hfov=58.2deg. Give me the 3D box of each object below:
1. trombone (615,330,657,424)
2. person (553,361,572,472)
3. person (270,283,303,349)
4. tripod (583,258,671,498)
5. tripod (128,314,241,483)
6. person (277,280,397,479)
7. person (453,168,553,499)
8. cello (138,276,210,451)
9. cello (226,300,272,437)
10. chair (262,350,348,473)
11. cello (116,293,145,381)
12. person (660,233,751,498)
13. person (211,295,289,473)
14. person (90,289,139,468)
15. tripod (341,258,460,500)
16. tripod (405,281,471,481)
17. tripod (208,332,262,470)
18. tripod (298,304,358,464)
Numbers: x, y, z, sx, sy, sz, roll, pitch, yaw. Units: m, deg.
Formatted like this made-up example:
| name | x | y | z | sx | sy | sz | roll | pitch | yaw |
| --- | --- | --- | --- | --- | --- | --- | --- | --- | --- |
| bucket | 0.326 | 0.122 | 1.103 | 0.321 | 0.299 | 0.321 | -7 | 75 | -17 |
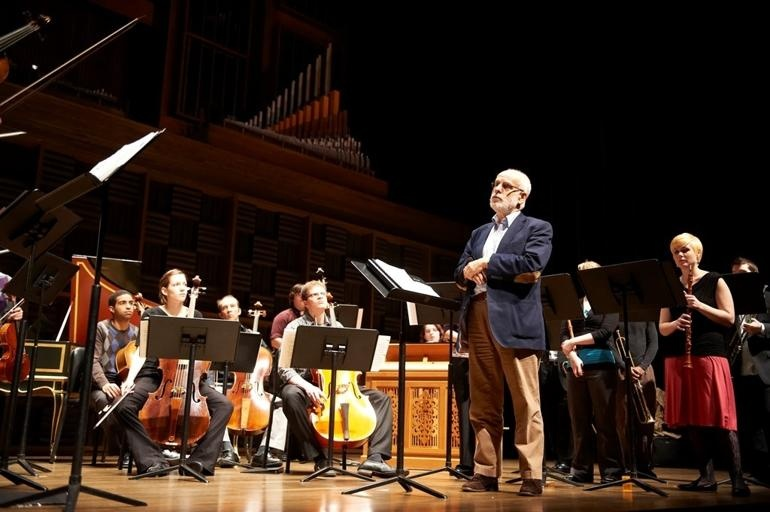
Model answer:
| name | x | y | z | sx | sy | sz | roll | pitch | yaw |
| --- | --- | --- | --- | --- | --- | --- | --- | --- | --- |
| trombone | 2.424 | 1.166 | 6.751 | 0.292 | 0.977 | 0.381 | 12 | -18 | -37 |
| person | 2.149 | 2.023 | 8.342 | 0.290 | 1.552 | 0.404 | 0 | 0 | 23 |
| person | -1.145 | 0.721 | 8.139 | 0.387 | 0.908 | 0.420 | 2 | -2 | -5 |
| tripod | 2.128 | 1.100 | 6.258 | 0.647 | 2.138 | 0.758 | 0 | -1 | 30 |
| tripod | -1.760 | 1.108 | 6.124 | 0.605 | 1.792 | 0.676 | -7 | -12 | 42 |
| person | -0.606 | 1.346 | 6.522 | 0.842 | 2.126 | 0.342 | 1 | -24 | -33 |
| person | 0.982 | 0.643 | 5.884 | 0.798 | 2.775 | 1.181 | 6 | -10 | -27 |
| cello | -1.969 | 0.987 | 6.579 | 0.592 | 1.658 | 0.553 | 5 | -3 | -22 |
| cello | -1.449 | 1.268 | 7.525 | 0.446 | 1.288 | 0.394 | 2 | -1 | -17 |
| chair | -0.797 | 1.472 | 6.730 | 0.588 | 1.403 | 0.513 | 8 | -11 | -36 |
| cello | -2.588 | 0.846 | 7.032 | 0.229 | 0.910 | 0.286 | 2 | 1 | -13 |
| person | 2.839 | 0.999 | 6.277 | 0.655 | 2.447 | 0.728 | 10 | -6 | -44 |
| person | -1.446 | 1.411 | 7.678 | 0.786 | 2.026 | 0.407 | 2 | -11 | -20 |
| person | -2.894 | 1.204 | 7.279 | 0.441 | 1.910 | 0.544 | 1 | 0 | -12 |
| tripod | 0.146 | 0.973 | 6.085 | 0.910 | 2.231 | 1.942 | 0 | -23 | 2 |
| tripod | 0.530 | 1.170 | 6.653 | 0.507 | 1.875 | 0.635 | 3 | -5 | 12 |
| tripod | -1.493 | 1.570 | 7.039 | 0.564 | 1.576 | 0.305 | 5 | -4 | -27 |
| tripod | -0.498 | 1.189 | 6.555 | 0.472 | 1.429 | 0.560 | 3 | -3 | -5 |
